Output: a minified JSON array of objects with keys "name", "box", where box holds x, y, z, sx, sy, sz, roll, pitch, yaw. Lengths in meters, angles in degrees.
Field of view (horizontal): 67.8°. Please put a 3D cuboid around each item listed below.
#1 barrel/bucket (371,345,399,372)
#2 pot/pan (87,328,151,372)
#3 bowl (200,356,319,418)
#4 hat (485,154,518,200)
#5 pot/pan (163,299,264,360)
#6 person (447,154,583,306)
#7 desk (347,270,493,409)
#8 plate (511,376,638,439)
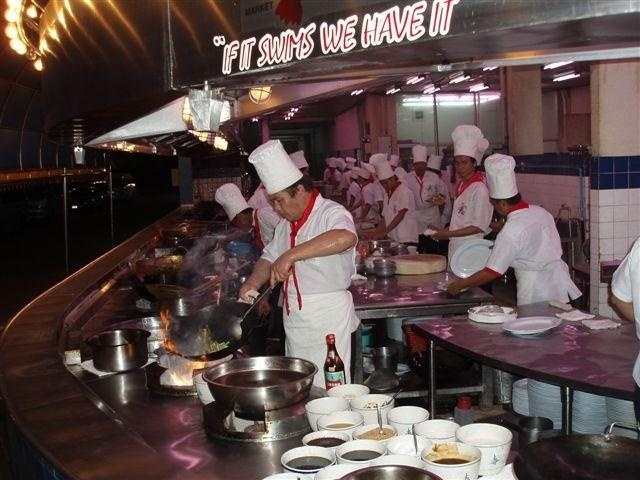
[{"name":"barrel/bucket","box":[0.442,0.838,3.385,0.207,0.165,0.243,-1,0,1]},{"name":"pot/pan","box":[-0.896,0.489,2.103,0.273,0.110,0.278,4,8,30]},{"name":"bowl","box":[-0.193,0.510,1.620,0.380,0.106,0.362,1,1,0]},{"name":"hat","box":[1.255,-0.455,3.315,0.218,0.262,0.267,-8,24,17]},{"name":"pot/pan","box":[-0.435,0.358,1.894,0.334,0.209,0.282,0,0,-16]},{"name":"person","box":[1.386,-0.049,3.330,0.772,0.721,0.352,0,0,-21]},{"name":"desk","box":[0.797,0.727,3.656,1.073,0.620,1.033,-5,0,27]},{"name":"plate","box":[1.316,0.909,2.602,0.644,0.172,0.520,4,6,42]}]
